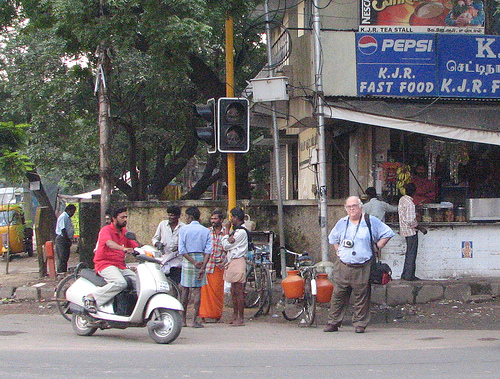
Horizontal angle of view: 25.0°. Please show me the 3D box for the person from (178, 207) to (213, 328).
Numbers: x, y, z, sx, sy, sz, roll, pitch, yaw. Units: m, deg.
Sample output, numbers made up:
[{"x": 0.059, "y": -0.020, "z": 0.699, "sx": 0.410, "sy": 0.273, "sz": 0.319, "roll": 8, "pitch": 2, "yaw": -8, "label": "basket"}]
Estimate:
[{"x": -1.246, "y": 1.809, "z": 25.912, "sx": 0.770, "sy": 2.791, "sz": 0.307, "roll": 0, "pitch": 1, "yaw": -5, "label": "person"}]

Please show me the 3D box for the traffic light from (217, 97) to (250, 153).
[{"x": -0.403, "y": -1.529, "z": 26.372, "sx": 0.725, "sy": 1.303, "sz": 0.275, "roll": 0, "pitch": 1, "yaw": -13, "label": "traffic light"}]

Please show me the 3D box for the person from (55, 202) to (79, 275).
[{"x": -5.012, "y": 1.387, "z": 30.494, "sx": 0.578, "sy": 2.328, "sz": 0.883, "roll": 4, "pitch": 5, "yaw": -13, "label": "person"}]

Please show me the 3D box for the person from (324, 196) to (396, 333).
[{"x": 2.450, "y": 1.716, "z": 25.566, "sx": 1.570, "sy": 3.072, "sz": 0.956, "roll": 0, "pitch": -2, "yaw": 8, "label": "person"}]

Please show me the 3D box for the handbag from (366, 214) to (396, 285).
[{"x": 2.897, "y": 1.511, "z": 25.482, "sx": 0.526, "sy": 1.375, "sz": 0.611, "roll": -3, "pitch": 6, "yaw": 14, "label": "handbag"}]

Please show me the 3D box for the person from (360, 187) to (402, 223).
[{"x": 3.247, "y": 0.360, "z": 28.309, "sx": 0.896, "sy": 0.935, "sz": 0.945, "roll": -1, "pitch": 3, "yaw": 6, "label": "person"}]

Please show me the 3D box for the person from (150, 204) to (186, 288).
[{"x": -1.952, "y": 1.348, "z": 26.835, "sx": 0.757, "sy": 1.902, "sz": 0.783, "roll": 2, "pitch": 4, "yaw": 2, "label": "person"}]

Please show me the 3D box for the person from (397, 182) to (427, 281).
[{"x": 3.921, "y": 1.055, "z": 27.897, "sx": 0.595, "sy": 2.421, "sz": 0.377, "roll": 0, "pitch": 1, "yaw": 8, "label": "person"}]

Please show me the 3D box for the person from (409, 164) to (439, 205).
[{"x": 4.655, "y": -0.085, "z": 30.457, "sx": 0.746, "sy": 1.146, "sz": 0.667, "roll": -4, "pitch": 5, "yaw": 11, "label": "person"}]

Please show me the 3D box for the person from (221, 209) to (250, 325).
[{"x": -0.370, "y": 1.800, "z": 26.093, "sx": 0.570, "sy": 2.701, "sz": 0.348, "roll": 0, "pitch": 1, "yaw": -1, "label": "person"}]

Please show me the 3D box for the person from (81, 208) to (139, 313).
[{"x": -3.003, "y": 1.654, "z": 25.172, "sx": 1.204, "sy": 2.363, "sz": 1.203, "roll": 4, "pitch": 7, "yaw": -44, "label": "person"}]
